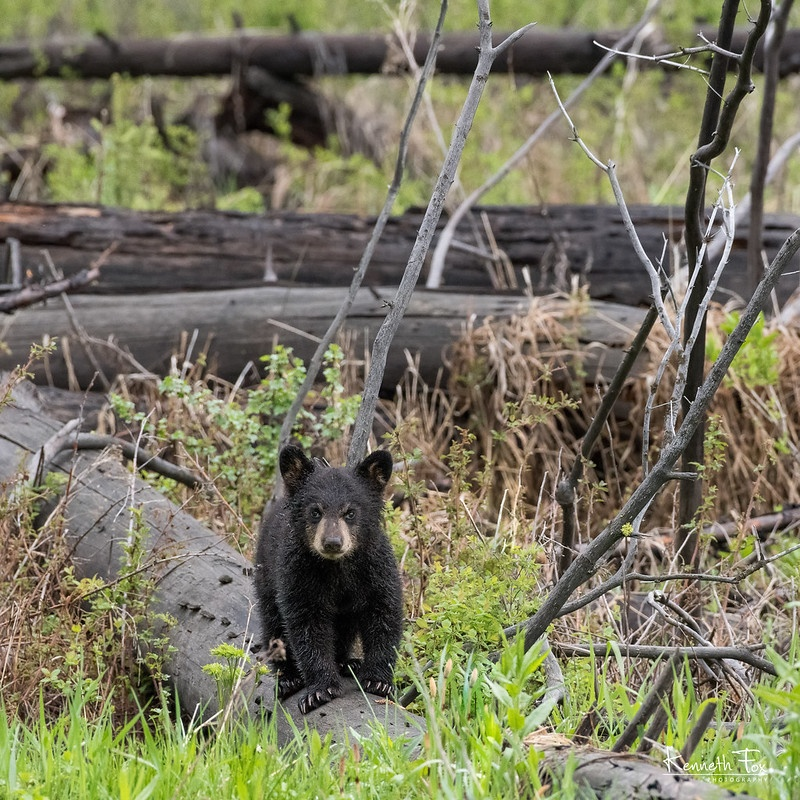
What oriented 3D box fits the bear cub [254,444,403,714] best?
[{"bbox_3d":[-0.354,0.875,6.695,0.615,1.187,1.211,-2,-4,-10],"label":"bear cub"}]
